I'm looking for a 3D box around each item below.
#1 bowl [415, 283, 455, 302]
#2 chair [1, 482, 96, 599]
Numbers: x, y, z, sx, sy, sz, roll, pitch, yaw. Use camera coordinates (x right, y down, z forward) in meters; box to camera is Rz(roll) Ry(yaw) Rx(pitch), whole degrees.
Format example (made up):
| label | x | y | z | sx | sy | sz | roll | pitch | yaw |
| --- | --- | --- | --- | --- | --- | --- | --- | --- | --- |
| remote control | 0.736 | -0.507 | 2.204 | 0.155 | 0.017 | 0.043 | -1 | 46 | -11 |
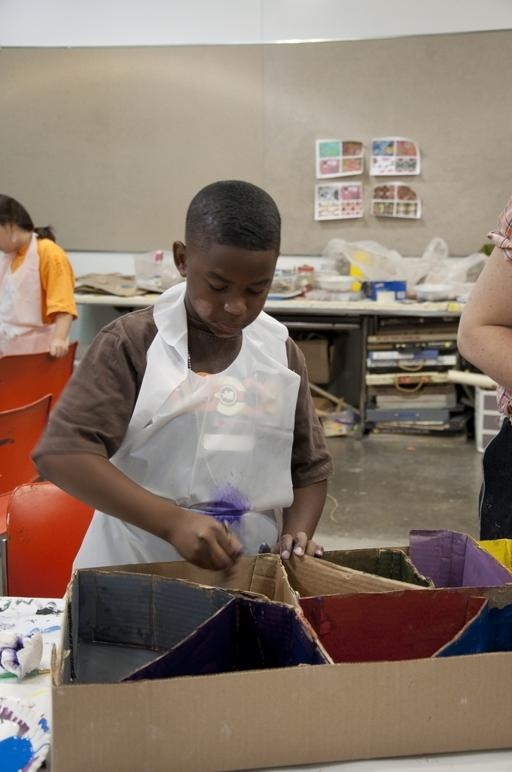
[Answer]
| label | x | y | z | sx | sy | sz | roll | pitch | yaw |
| --- | --- | --- | --- | --- | --- | --- | --- | --- | --- |
| bowl | 1.147 | -0.604 | 4.596 | 0.220 | 0.099 | 0.240 | -1 | 12 | 0 |
| chair | -0.462 | 0.333 | 1.607 | 0.243 | 0.282 | 0.247 | 5 | -3 | -28 |
